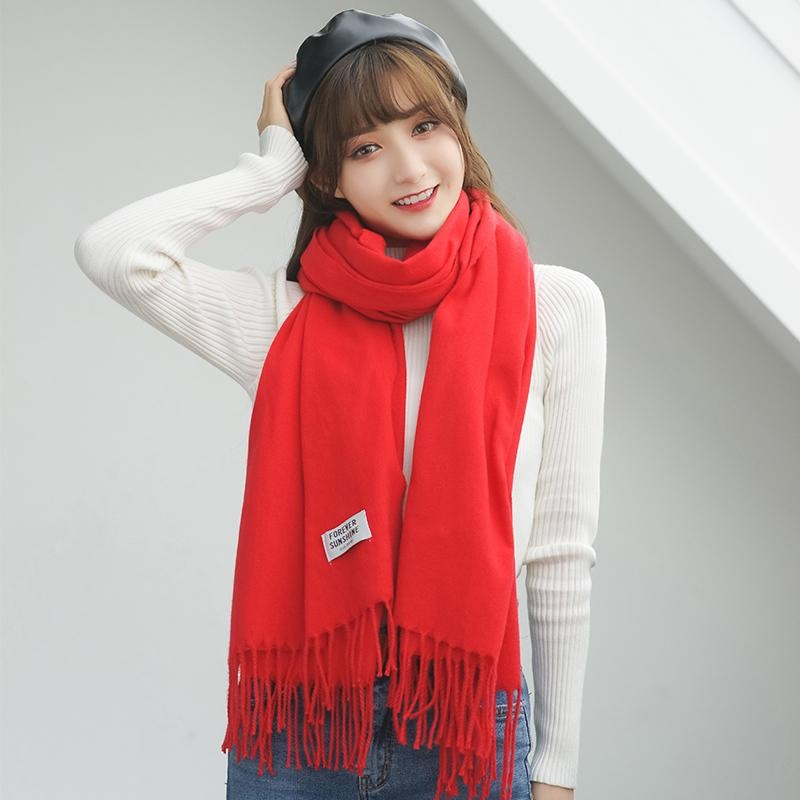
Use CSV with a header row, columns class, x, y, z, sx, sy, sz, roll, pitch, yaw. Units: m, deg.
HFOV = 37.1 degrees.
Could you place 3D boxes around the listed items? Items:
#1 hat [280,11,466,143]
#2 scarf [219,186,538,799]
class,x,y,z,sx,sy,sz,roll,pitch,yaw
hat,-0.040,-0.592,2.239,0.311,0.094,0.356,-19,-20,11
scarf,-0.032,0.145,2.107,0.568,1.060,0.192,-6,-15,21
